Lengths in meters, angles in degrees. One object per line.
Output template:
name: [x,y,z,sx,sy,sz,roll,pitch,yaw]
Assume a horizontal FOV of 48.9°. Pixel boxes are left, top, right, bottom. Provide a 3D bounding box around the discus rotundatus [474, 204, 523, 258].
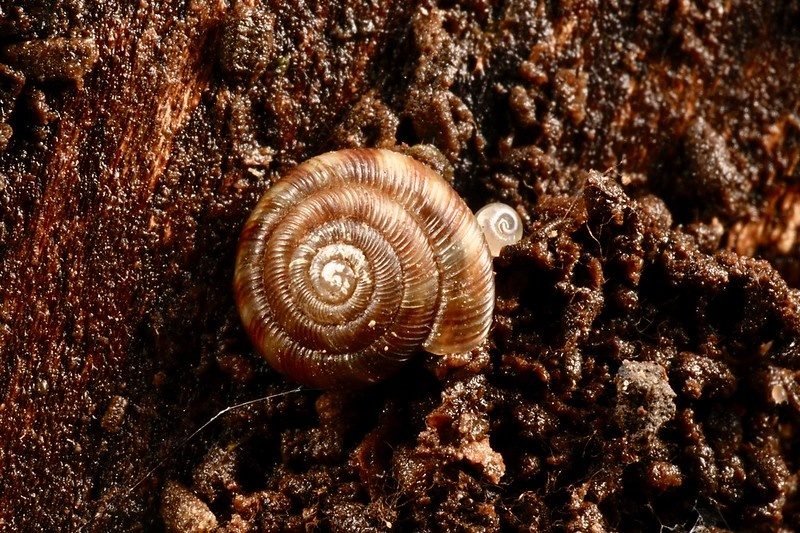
discus rotundatus: [0.744,-0.260,6.339,0.345,0.125,0.355,36,74,-13]
